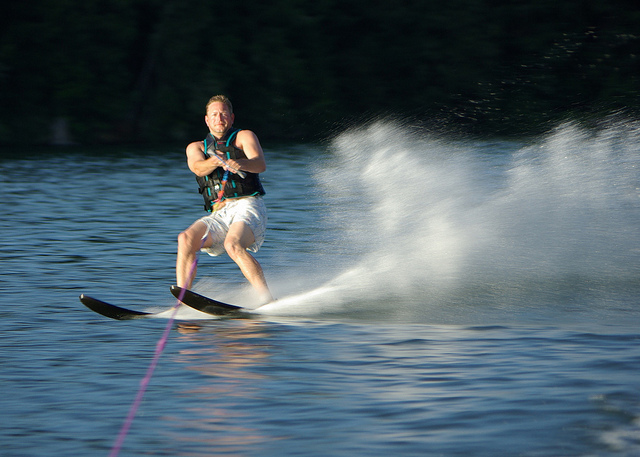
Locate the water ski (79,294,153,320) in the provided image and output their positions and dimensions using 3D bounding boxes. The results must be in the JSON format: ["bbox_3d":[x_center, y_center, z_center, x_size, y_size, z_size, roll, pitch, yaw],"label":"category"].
[{"bbox_3d":[-1.610,0.633,7.531,0.535,0.200,0.140,11,62,14],"label":"water ski"}]

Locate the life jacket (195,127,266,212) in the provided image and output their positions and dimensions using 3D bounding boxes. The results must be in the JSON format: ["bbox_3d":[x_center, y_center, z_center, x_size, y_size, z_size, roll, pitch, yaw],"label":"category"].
[{"bbox_3d":[-0.794,-0.409,8.231,0.587,0.900,0.592,-15,60,0],"label":"life jacket"}]

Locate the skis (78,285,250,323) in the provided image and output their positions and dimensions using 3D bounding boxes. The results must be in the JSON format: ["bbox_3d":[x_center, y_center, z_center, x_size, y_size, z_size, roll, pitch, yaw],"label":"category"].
[{"bbox_3d":[-1.008,0.575,7.553,2.061,0.247,0.234,-7,38,37],"label":"skis"}]
